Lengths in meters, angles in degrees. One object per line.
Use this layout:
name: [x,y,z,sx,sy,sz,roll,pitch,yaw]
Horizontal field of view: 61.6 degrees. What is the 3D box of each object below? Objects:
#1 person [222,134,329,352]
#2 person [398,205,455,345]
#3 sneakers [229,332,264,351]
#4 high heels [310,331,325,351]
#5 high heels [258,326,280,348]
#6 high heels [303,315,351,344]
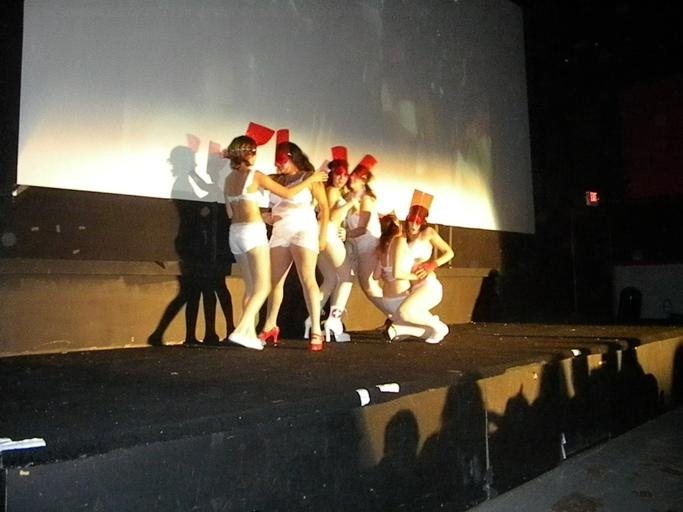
person: [-0.536,-0.098,4.162,0.600,1.521,0.330,0,-1,-14]
person: [0.697,0.132,4.625,0.395,1.095,0.421,-1,-1,13]
sneakers: [-0.671,0.599,4.110,0.235,0.129,0.269,-1,-1,-9]
high heels: [-0.172,0.616,4.128,0.089,0.095,0.266,0,-9,-1]
high heels: [-0.537,0.620,4.406,0.222,0.111,0.080,2,-5,23]
high heels: [-0.131,0.607,4.697,0.477,0.223,0.167,-3,-15,7]
